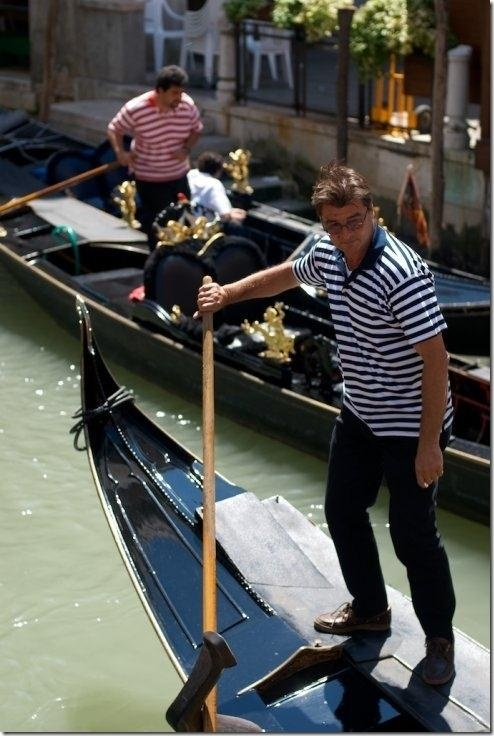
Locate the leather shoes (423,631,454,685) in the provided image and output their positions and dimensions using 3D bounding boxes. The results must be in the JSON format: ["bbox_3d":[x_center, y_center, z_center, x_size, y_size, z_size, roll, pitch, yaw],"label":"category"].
[{"bbox_3d":[0.549,0.828,2.868,0.059,0.062,0.157,-1,18,11],"label":"leather shoes"}]

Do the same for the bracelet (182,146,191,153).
[{"bbox_3d":[-0.356,-1.307,6.024,0.050,0.049,0.018,-13,8,-43],"label":"bracelet"}]

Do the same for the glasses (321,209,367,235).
[{"bbox_3d":[0.252,-0.379,2.632,0.116,0.064,0.073,6,10,19],"label":"glasses"}]

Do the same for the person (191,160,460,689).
[{"bbox_3d":[0.310,0.154,2.874,0.673,1.425,0.455,6,11,20],"label":"person"}]

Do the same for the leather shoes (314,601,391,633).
[{"bbox_3d":[0.320,0.770,3.116,0.247,0.096,0.091,2,-5,3],"label":"leather shoes"}]

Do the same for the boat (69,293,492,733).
[{"bbox_3d":[-0.110,0.553,3.451,0.721,0.658,2.132,-18,37,-27],"label":"boat"}]

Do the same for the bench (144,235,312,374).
[{"bbox_3d":[-0.018,-0.324,5.416,0.638,0.559,0.945,-33,49,-28],"label":"bench"}]
